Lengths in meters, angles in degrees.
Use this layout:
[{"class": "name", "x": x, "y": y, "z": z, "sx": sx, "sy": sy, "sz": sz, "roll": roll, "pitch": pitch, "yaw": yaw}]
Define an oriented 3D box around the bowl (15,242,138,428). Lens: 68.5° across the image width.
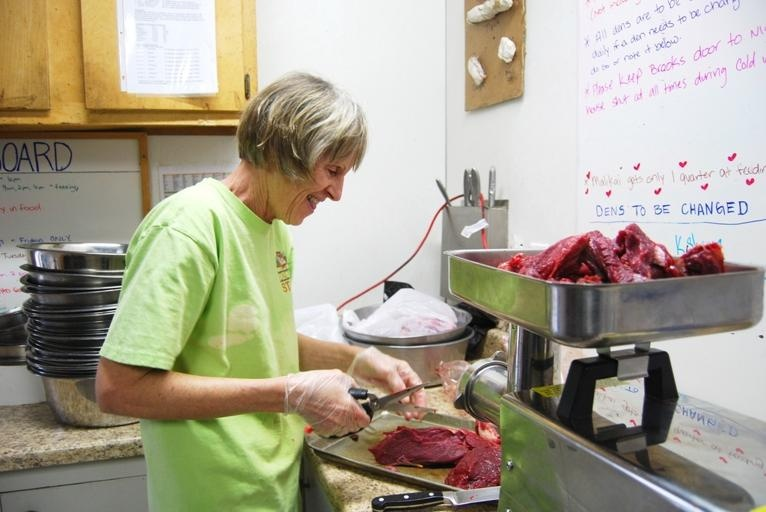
[{"class": "bowl", "x": -1.050, "y": 0.235, "z": 2.252, "sx": 0.617, "sy": 0.718, "sz": 0.614, "roll": 4, "pitch": 4, "yaw": 0}]
